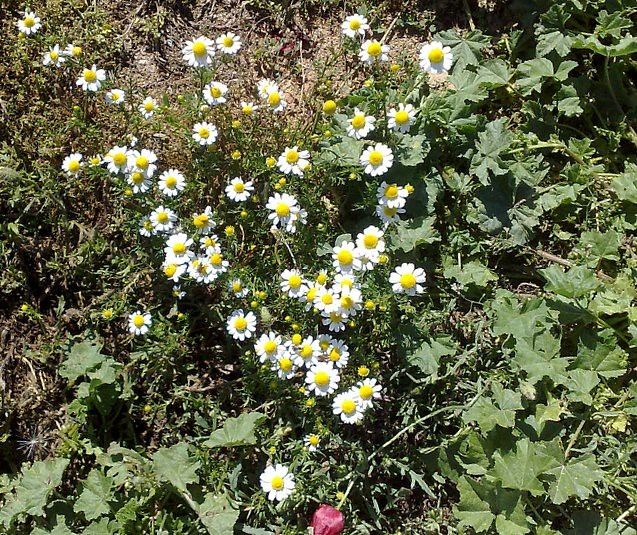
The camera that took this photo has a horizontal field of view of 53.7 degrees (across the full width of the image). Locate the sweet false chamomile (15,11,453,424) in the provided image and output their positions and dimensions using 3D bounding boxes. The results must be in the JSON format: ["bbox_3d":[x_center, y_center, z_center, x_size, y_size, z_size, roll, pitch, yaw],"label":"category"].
[{"bbox_3d":[-0.547,-0.194,3.831,2.840,1.562,2.304,4,61,13],"label":"sweet false chamomile"}]
